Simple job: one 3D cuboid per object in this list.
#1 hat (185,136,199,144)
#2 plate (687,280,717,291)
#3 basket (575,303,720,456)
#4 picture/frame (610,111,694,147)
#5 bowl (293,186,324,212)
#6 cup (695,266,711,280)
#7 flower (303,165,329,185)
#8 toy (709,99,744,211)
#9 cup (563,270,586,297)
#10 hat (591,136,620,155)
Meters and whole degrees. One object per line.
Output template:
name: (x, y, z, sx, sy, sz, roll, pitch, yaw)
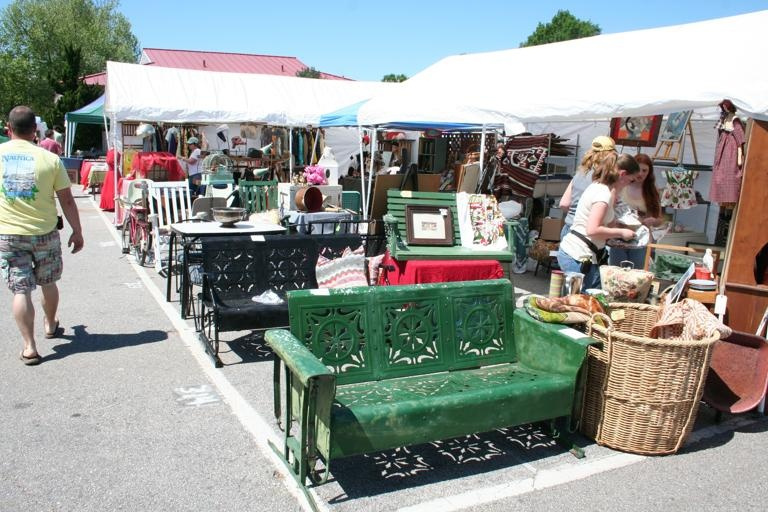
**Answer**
hat: (-4.579, -2.749, 13.249, 0.315, 0.191, 0.392, -1, 16, -30)
plate: (3.153, 0.289, 5.456, 0.270, 0.095, 0.134, -1, 13, 2)
basket: (2.279, 1.059, 5.016, 1.249, 1.151, 1.084, 5, 4, -14)
picture/frame: (4.151, -1.932, 8.440, 0.420, 0.654, 1.000, 15, -4, -43)
bowl: (-1.192, -0.868, 8.626, 0.190, 0.294, 0.372, -3, -27, 39)
cup: (3.247, 0.186, 5.596, 0.127, 0.090, 0.120, 1, 8, 0)
flower: (-1.154, -1.306, 9.138, 0.390, 0.219, 0.422, 3, 19, -19)
toy: (3.554, -1.053, 5.675, 0.259, 1.081, 0.635, 6, 16, 30)
cup: (1.873, 0.278, 5.474, 0.221, 0.351, 0.228, -1, 7, 0)
hat: (2.565, -1.243, 6.335, 0.231, 0.146, 0.352, 18, 23, 39)
